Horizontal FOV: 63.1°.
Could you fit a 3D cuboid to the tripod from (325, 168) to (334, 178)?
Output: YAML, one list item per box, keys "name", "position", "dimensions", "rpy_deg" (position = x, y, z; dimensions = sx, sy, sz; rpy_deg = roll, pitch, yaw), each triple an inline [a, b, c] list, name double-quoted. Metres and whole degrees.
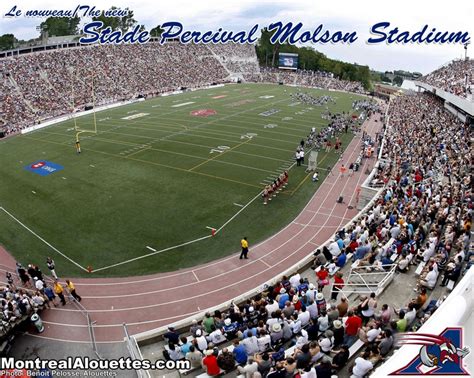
- name: "tripod"
  position: [7.476, -1.342, 31.308]
  dimensions: [0.846, 0.338, 1.720]
  rpy_deg: [2, 18, 13]

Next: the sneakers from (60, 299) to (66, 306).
- name: "sneakers"
  position: [-8.108, 5.357, 18.036]
  dimensions: [0.099, 0.358, 0.214]
  rpy_deg: [56, 38, 5]

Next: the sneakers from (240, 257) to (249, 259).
- name: "sneakers"
  position: [0.426, 3.748, 20.841]
  dimensions: [0.509, 0.149, 0.130]
  rpy_deg: [2, 2, -2]
